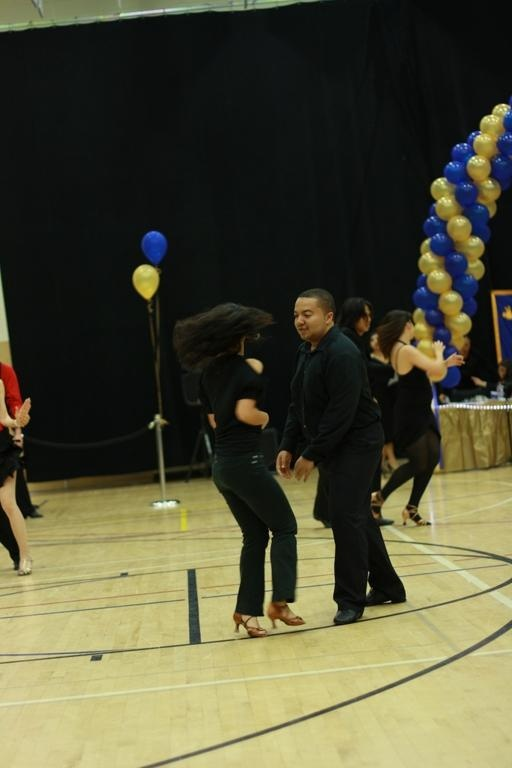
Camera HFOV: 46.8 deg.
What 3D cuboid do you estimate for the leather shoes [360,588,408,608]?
[{"bbox_3d":[0.596,0.990,2.718,0.241,0.100,0.080,-1,-10,0],"label":"leather shoes"}]

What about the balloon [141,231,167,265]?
[{"bbox_3d":[-1.283,-1.697,7.354,0.266,0.418,0.199,-5,-6,21],"label":"balloon"}]

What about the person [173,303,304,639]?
[{"bbox_3d":[-0.071,0.353,2.331,0.436,1.341,0.434,-3,-5,2],"label":"person"}]

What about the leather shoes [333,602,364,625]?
[{"bbox_3d":[0.376,0.966,2.458,0.051,0.062,0.152,-10,-19,24],"label":"leather shoes"}]

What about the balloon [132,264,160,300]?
[{"bbox_3d":[-1.355,-1.256,7.185,0.257,0.428,0.223,-5,-6,17],"label":"balloon"}]

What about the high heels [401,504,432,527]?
[{"bbox_3d":[1.284,1.045,4.650,0.281,0.184,0.110,0,-1,2],"label":"high heels"}]

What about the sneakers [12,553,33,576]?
[{"bbox_3d":[-1.609,1.240,4.049,0.097,0.080,0.207,1,-15,-9],"label":"sneakers"}]
